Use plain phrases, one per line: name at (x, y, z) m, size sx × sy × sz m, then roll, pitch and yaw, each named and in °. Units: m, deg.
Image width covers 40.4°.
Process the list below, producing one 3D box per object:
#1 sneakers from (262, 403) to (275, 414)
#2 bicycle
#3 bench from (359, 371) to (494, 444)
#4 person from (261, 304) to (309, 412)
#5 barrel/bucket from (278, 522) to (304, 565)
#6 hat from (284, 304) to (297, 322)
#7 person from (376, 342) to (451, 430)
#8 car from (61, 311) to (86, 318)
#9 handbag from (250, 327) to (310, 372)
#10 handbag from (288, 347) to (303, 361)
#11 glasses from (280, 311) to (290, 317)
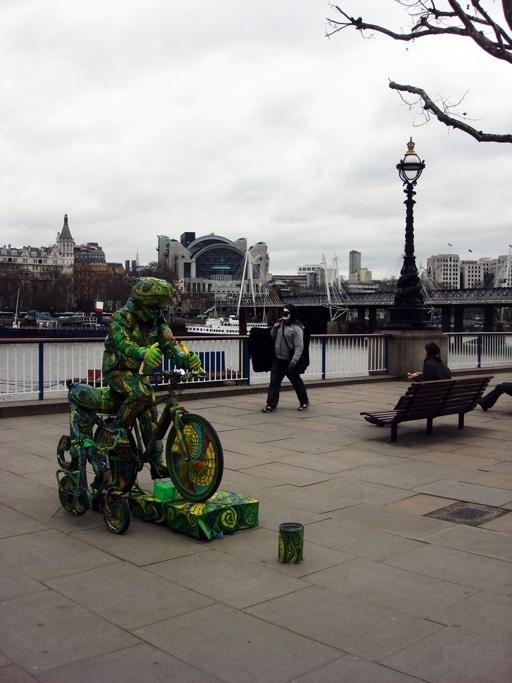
sneakers at (0.235, 1.158, 11.714) m, size 0.092 × 0.130 × 0.277 m, roll 0°, pitch -8°, yaw 25°
bicycle at (-0.792, 0.944, 5.537) m, size 1.634 × 1.078 × 0.828 m, roll -6°, pitch -5°, yaw 35°
bench at (2.455, 0.922, 9.646) m, size 2.068 × 0.814 × 0.775 m, roll -1°, pitch 2°, yaw -42°
person at (0.535, 0.305, 11.852) m, size 0.763 × 1.792 × 1.051 m, roll 1°, pitch 1°, yaw 7°
barrel/bucket at (0.236, 1.322, 4.513) m, size 0.186 × 0.219 × 0.192 m, roll -3°, pitch -7°, yaw 0°
hat at (0.616, -0.469, 11.791) m, size 0.193 × 0.274 × 0.275 m, roll -4°, pitch -19°, yaw 30°
person at (2.701, 0.683, 10.579) m, size 0.634 × 1.219 × 0.722 m, roll -14°, pitch 12°, yaw -37°
car at (-35.876, -5.296, 140.601) m, size 2.551 × 1.119 × 2.470 m, roll 0°, pitch 0°, yaw 31°
handbag at (0.363, 0.088, 13.495) m, size 1.111 × 1.041 × 0.605 m, roll -9°, pitch 5°, yaw 32°
handbag at (0.696, 0.258, 11.560) m, size 0.202 × 0.279 × 0.502 m, roll 1°, pitch 2°, yaw 4°
glasses at (0.530, -0.453, 11.820) m, size 0.085 × 0.099 × 0.110 m, roll 2°, pitch 3°, yaw 7°
